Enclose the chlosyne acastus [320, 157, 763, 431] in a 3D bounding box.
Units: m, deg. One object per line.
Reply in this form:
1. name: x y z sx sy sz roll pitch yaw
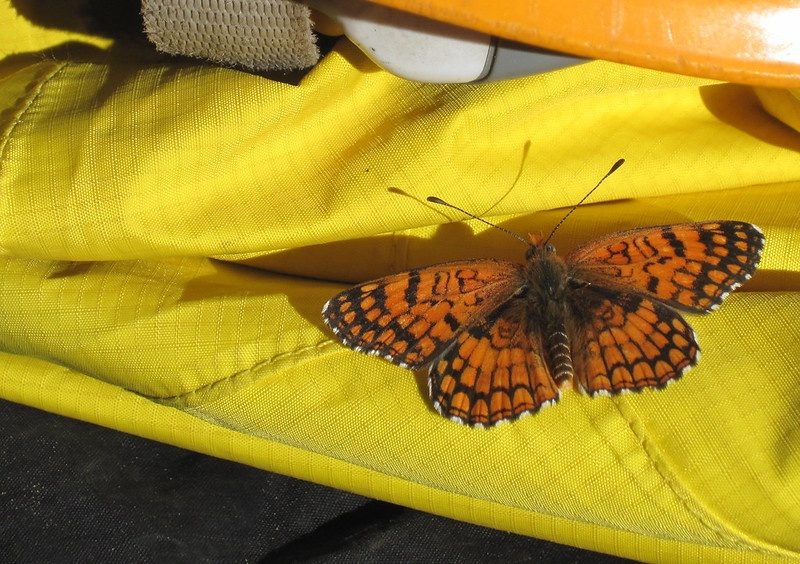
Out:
1. chlosyne acastus: 0.134 0.034 0.685 0.360 0.104 0.157 -18 67 -5
